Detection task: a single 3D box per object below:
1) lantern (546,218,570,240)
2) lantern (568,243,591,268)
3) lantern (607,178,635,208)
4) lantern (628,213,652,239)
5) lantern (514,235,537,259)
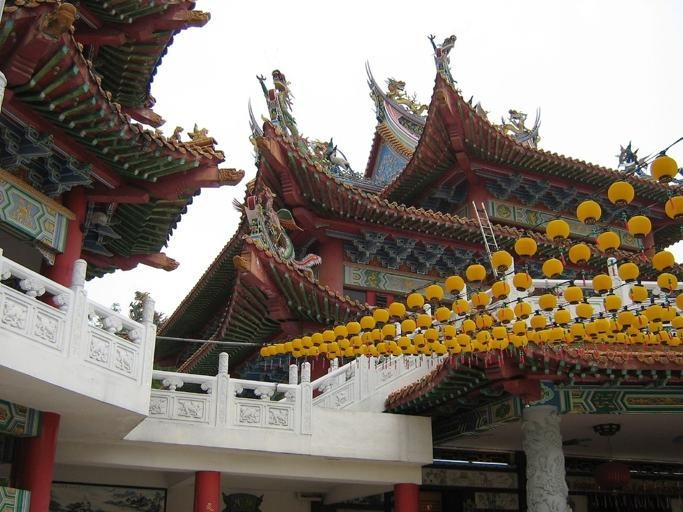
[{"bbox_3d":[2.394,-0.329,8.814,0.219,0.311,0.354,-4,-28,12],"label":"lantern"},{"bbox_3d":[2.735,0.015,9.038,0.248,0.262,0.236,11,-20,-29],"label":"lantern"},{"bbox_3d":[2.956,-0.703,8.413,0.229,0.366,0.358,-10,-30,22],"label":"lantern"},{"bbox_3d":[3.180,-0.299,8.504,0.243,0.217,0.237,-11,-40,24],"label":"lantern"},{"bbox_3d":[2.141,-0.118,9.237,0.240,0.214,0.238,-9,-26,28],"label":"lantern"}]
